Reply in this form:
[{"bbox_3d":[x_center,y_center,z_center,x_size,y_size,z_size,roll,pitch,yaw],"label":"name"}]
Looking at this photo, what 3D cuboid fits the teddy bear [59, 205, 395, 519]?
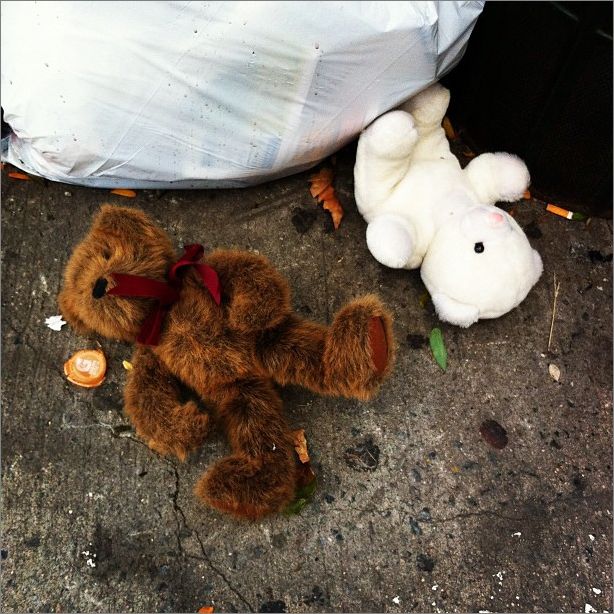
[{"bbox_3d":[-0.269,0.087,2.193,0.931,0.550,0.724,40,91,-15],"label":"teddy bear"}]
